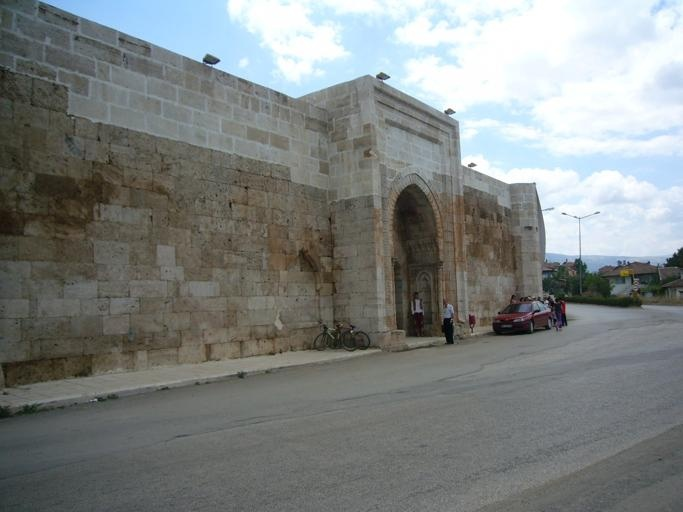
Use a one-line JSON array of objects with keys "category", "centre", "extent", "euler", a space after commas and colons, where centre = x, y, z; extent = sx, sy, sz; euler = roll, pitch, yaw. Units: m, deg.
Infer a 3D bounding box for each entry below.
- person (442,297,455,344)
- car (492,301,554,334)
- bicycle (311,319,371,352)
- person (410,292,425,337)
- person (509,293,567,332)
[{"category": "person", "centre": [3.963, 2.505, 18.953], "extent": [0.343, 1.518, 0.826], "euler": [-3, -7, 7]}, {"category": "car", "centre": [8.315, 2.768, 23.329], "extent": [3.146, 1.504, 1.444], "euler": [6, -11, -42]}, {"category": "bicycle", "centre": [0.081, 2.629, 16.915], "extent": [1.663, 1.139, 0.916], "euler": [0, -14, 11]}, {"category": "person", "centre": [3.221, 2.442, 21.468], "extent": [0.500, 1.849, 1.077], "euler": [-3, -7, 7]}, {"category": "person", "centre": [8.548, 2.671, 23.257], "extent": [1.418, 1.095, 3.098], "euler": [-10, -14, 38]}]
